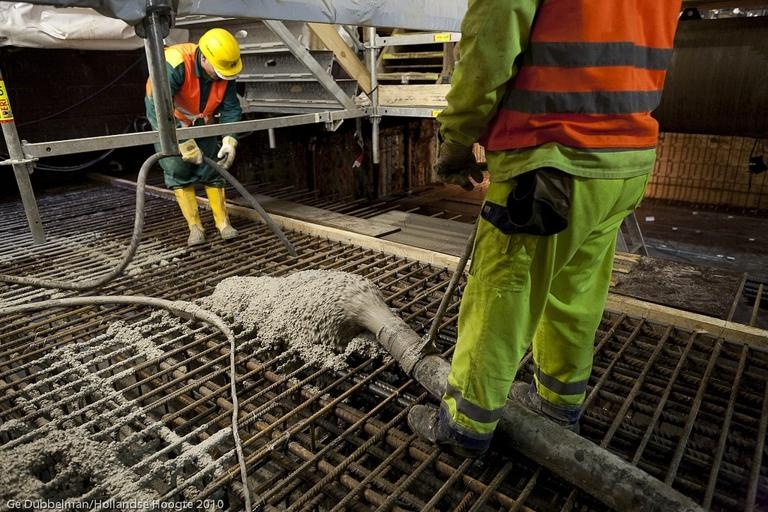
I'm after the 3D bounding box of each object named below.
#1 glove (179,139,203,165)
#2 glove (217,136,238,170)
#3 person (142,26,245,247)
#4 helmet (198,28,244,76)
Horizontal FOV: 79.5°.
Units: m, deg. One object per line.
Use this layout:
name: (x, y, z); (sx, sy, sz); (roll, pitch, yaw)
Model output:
glove: (-1.723, -0.924, 4.127); (0.172, 0.217, 0.129); (-5, 24, -9)
glove: (-1.525, -0.986, 4.497); (0.112, 0.163, 0.282); (-43, 20, -10)
person: (-1.728, -1.140, 4.417); (0.874, 1.891, 0.938); (-11, 26, -23)
helmet: (-1.444, -1.861, 4.161); (0.330, 0.436, 0.230); (-30, -5, -35)
